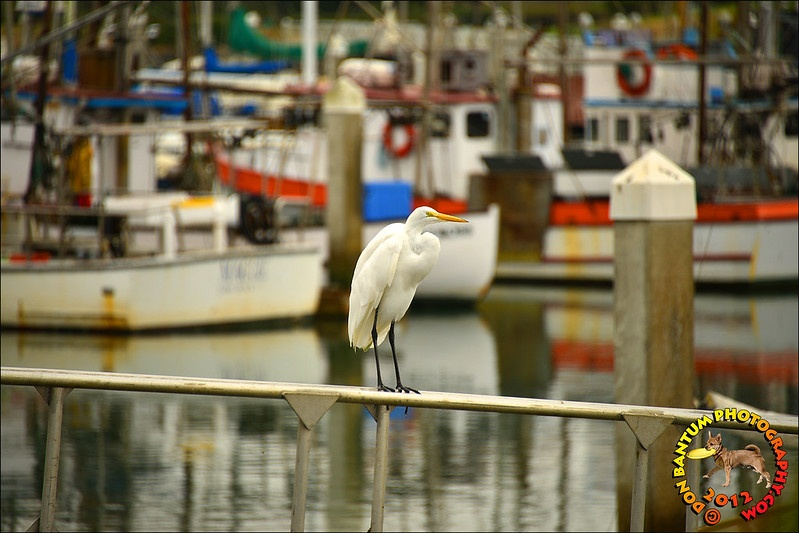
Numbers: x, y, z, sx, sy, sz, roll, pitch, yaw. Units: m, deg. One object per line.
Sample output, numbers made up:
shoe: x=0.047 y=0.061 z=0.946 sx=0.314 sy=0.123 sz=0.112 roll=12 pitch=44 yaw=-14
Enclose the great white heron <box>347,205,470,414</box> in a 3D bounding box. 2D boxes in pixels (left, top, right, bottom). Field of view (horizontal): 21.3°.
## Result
great white heron: x=-0.041 y=0.417 z=24.524 sx=1.116 sy=2.134 sz=0.731 roll=-3 pitch=7 yaw=-2
